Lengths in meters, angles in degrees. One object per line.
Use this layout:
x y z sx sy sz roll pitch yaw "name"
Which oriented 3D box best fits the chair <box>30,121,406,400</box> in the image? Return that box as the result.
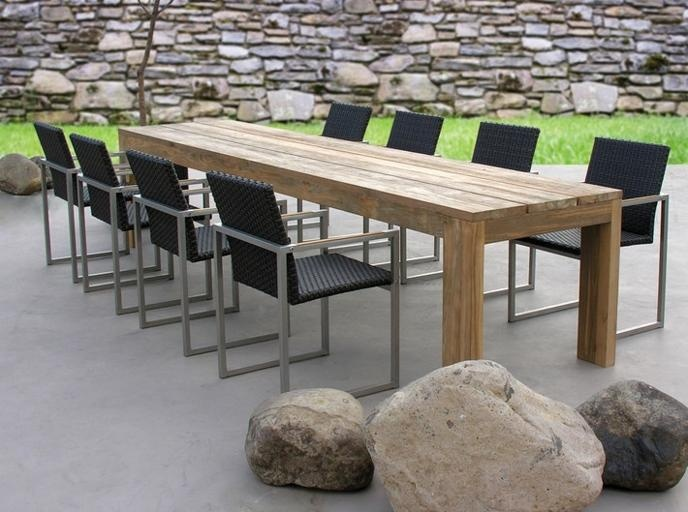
-0.727 0.038 3.548 0.695 1.022 1.687 -10 15 -35 "chair"
